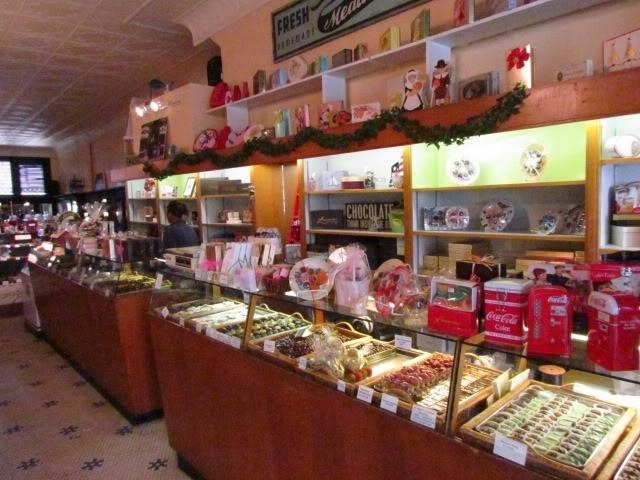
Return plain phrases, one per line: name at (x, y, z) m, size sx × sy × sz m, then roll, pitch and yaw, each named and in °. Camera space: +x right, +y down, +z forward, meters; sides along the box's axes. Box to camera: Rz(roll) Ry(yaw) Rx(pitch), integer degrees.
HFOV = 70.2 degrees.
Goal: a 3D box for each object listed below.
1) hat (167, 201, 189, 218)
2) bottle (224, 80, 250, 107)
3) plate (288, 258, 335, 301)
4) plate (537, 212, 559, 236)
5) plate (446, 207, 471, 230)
hat at (-1.719, -0.367, 5.517) m, size 0.188 × 0.227 × 0.243 m, roll 0°, pitch 17°, yaw -15°
bottle at (-1.009, -1.745, 5.401) m, size 0.169 × 0.245 × 0.549 m, roll -4°, pitch 13°, yaw -23°
plate at (-0.044, 0.218, 2.603) m, size 0.301 × 0.214 × 0.212 m, roll 0°, pitch 9°, yaw 9°
plate at (1.689, -0.122, 3.362) m, size 0.050 × 0.149 × 0.148 m, roll 15°, pitch -4°, yaw -26°
plate at (1.167, -0.175, 3.833) m, size 0.164 × 0.159 × 0.204 m, roll -3°, pitch -1°, yaw 27°
